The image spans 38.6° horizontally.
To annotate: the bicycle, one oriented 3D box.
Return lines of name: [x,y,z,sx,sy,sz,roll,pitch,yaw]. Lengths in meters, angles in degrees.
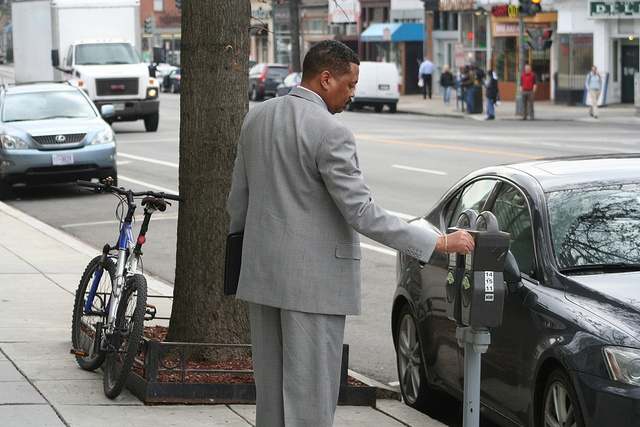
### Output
bicycle: [-1.764,0.770,7.781,0.790,1.297,1.904,12,9,-20]

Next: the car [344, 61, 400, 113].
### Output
car: [2.596,-5.434,41.534,2.753,3.016,5.046,0,11,-4]

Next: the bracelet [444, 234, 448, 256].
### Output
bracelet: [0.821,0.190,5.918,0.016,0.104,0.037,0,8,0]

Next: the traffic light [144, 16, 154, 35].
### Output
traffic light: [-6.924,-7.670,36.923,0.334,0.808,1.001,3,1,-14]

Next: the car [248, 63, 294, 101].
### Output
car: [-2.821,-6.724,49.213,2.280,2.609,5.558,-1,13,-4]
